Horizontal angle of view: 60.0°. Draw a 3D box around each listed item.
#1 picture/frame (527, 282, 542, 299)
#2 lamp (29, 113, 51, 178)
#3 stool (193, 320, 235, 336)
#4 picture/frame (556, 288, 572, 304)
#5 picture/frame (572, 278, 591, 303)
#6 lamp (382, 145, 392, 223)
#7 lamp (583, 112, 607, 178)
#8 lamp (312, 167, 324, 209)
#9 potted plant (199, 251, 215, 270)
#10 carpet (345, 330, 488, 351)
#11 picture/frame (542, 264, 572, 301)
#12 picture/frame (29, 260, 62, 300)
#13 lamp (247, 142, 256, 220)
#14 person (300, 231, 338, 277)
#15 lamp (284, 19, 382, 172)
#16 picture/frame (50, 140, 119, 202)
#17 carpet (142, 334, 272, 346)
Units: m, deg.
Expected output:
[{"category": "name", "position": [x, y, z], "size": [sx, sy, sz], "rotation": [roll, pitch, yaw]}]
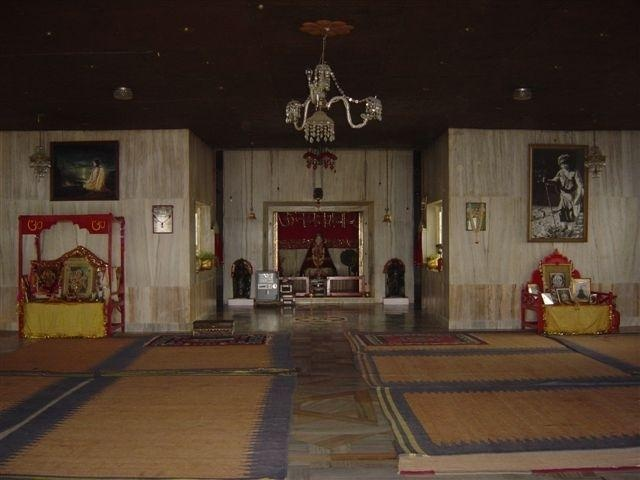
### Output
[{"category": "picture/frame", "position": [3.827, 0.922, 9.890], "size": [0.251, 0.222, 0.066], "rotation": [0, -27, 16]}, {"category": "lamp", "position": [-4.783, -1.559, 9.397], "size": [0.306, 1.021, 1.737], "rotation": [-4, 7, -26]}, {"category": "stool", "position": [-1.897, 1.534, 9.616], "size": [0.805, 0.192, 0.405], "rotation": [1, 6, 13]}, {"category": "picture/frame", "position": [4.262, 0.991, 9.687], "size": [0.256, 0.272, 0.030], "rotation": [4, -25, 0]}, {"category": "picture/frame", "position": [4.588, 0.891, 9.741], "size": [0.319, 0.378, 0.345], "rotation": [2, 7, 25]}, {"category": "lamp", "position": [1.609, -1.221, 13.104], "size": [0.180, 1.728, 0.390], "rotation": [0, 7, 6]}, {"category": "lamp", "position": [4.884, -1.595, 9.777], "size": [0.345, 1.013, 1.337], "rotation": [3, 7, 27]}, {"category": "lamp", "position": [-0.066, -1.246, 13.178], "size": [0.240, 0.900, 0.179], "rotation": [-1, 7, 0]}, {"category": "potted plant", "position": [-2.445, 0.438, 11.822], "size": [0.405, 0.228, 0.491], "rotation": [1, -6, -10]}, {"category": "carpet", "position": [1.606, 1.657, 9.149], "size": [2.119, 0.102, 1.218], "rotation": [-1, 6, -3]}, {"category": "picture/frame", "position": [4.204, 0.782, 9.816], "size": [0.659, 0.851, 0.074], "rotation": [3, -21, 3]}, {"category": "picture/frame", "position": [-4.763, 0.696, 9.593], "size": [0.745, 0.909, 0.124], "rotation": [0, 2, -2]}, {"category": "lamp", "position": [-1.616, -1.272, 13.021], "size": [0.206, 1.627, 0.354], "rotation": [-2, 7, -7]}, {"category": "person", "position": [-0.055, 0.409, 14.039], "size": [0.948, 1.061, 0.315], "rotation": [-1, 7, 0]}, {"category": "lamp", "position": [0.110, -1.744, 6.793], "size": [1.192, 1.616, 1.131], "rotation": [3, 11, 0]}, {"category": "picture/frame", "position": [-4.316, -1.274, 10.090], "size": [1.172, 0.991, 0.107], "rotation": [0, -4, 0]}, {"category": "carpet", "position": [-1.842, 1.661, 9.195], "size": [1.911, 0.077, 0.937], "rotation": [0, 6, -1]}]
